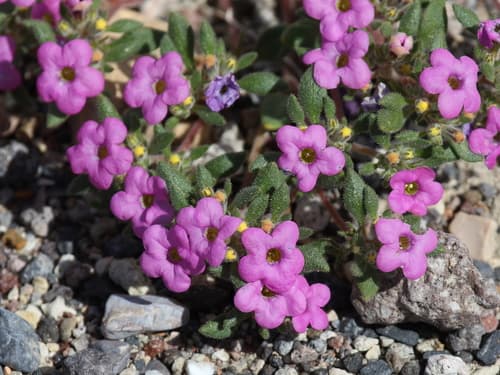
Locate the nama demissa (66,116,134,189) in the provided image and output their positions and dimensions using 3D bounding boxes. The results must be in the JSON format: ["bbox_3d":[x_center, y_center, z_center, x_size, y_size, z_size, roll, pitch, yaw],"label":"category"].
[{"bbox_3d":[-1.492,-0.353,5.199,0.191,0.636,0.643,9,-9,37],"label":"nama demissa"}]

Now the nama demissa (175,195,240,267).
[{"bbox_3d":[-0.334,0.428,4.804,0.651,0.648,0.252,69,10,19],"label":"nama demissa"}]

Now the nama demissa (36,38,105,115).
[{"bbox_3d":[-1.877,-1.178,5.413,0.641,0.793,0.212,18,4,12],"label":"nama demissa"}]

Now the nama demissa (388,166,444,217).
[{"bbox_3d":[1.632,0.030,5.019,0.435,0.570,0.207,8,5,-8],"label":"nama demissa"}]
